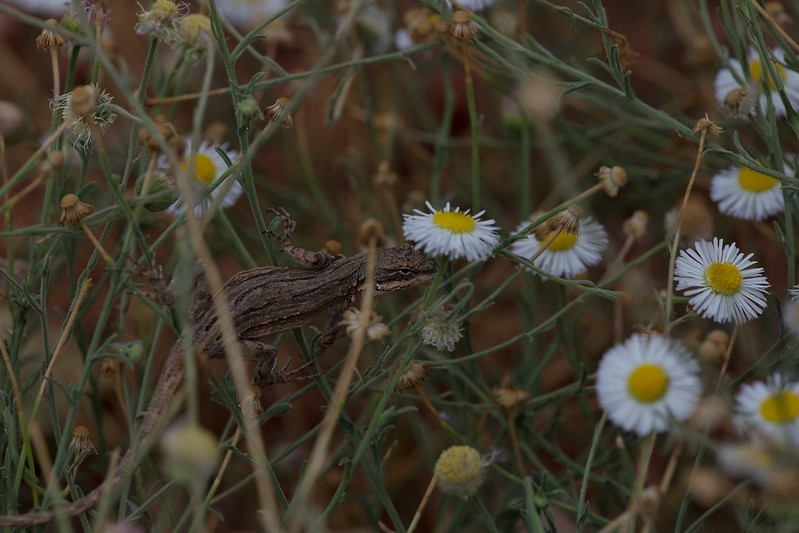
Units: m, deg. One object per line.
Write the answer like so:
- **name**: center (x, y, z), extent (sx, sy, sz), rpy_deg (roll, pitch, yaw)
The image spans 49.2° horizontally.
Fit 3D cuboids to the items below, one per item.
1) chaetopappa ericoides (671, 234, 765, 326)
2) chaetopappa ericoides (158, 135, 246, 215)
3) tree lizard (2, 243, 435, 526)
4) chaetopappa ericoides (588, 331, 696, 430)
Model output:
- **chaetopappa ericoides**: center (0.683, 0.028, 1.872), extent (0.159, 0.065, 0.199), rpy_deg (14, 91, 16)
- **chaetopappa ericoides**: center (-0.447, -0.231, 2.071), extent (0.176, 0.073, 0.228), rpy_deg (4, 66, -17)
- **tree lizard**: center (-0.338, 0.210, 2.148), extent (1.191, 0.203, 0.455), rpy_deg (-25, 72, -12)
- **chaetopappa ericoides**: center (0.501, 0.243, 1.774), extent (0.175, 0.045, 0.205), rpy_deg (-23, 81, 6)
